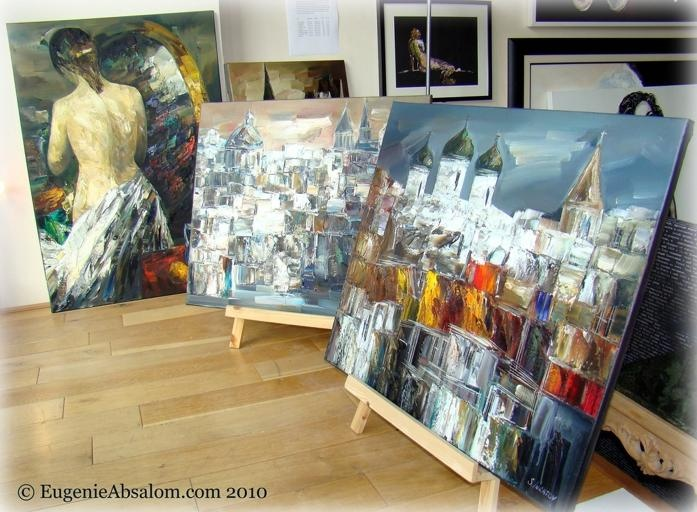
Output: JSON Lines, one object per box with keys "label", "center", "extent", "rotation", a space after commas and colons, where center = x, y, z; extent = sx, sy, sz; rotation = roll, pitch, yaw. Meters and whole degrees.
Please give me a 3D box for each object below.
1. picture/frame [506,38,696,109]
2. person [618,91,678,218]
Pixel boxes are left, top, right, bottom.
{"label": "picture/frame", "center": [2.494, -1.810, 4.274], "extent": [2.208, 0.774, 0.124], "rotation": [-3, 16, -18]}
{"label": "person", "center": [2.772, -1.170, 4.164], "extent": [0.435, 1.072, 0.114], "rotation": [21, -23, 14]}
